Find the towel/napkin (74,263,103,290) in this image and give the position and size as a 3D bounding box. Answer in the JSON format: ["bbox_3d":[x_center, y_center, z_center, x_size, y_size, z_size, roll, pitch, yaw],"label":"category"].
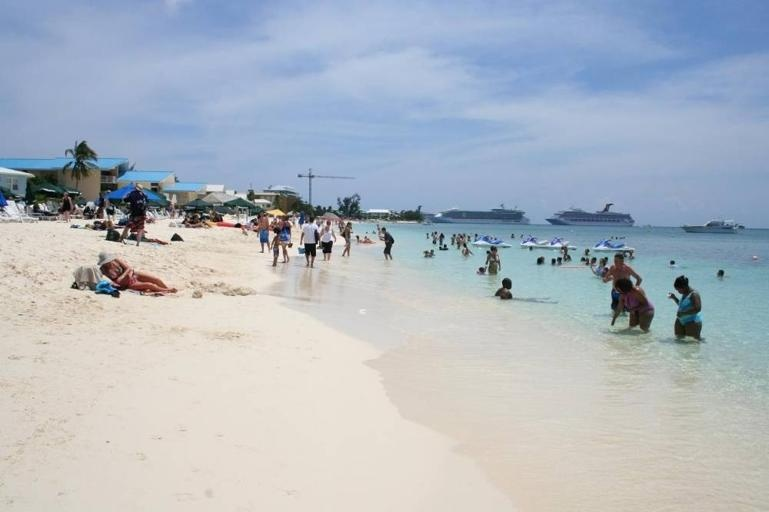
[{"bbox_3d":[-6.262,0.438,13.787,0.557,0.430,0.509,1,14,-20],"label":"towel/napkin"}]

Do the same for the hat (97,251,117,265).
[{"bbox_3d":[-6.084,0.047,14.355,0.319,0.226,0.404,1,13,-17],"label":"hat"}]

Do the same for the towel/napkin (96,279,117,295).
[{"bbox_3d":[-5.720,0.642,13.541,0.448,0.295,0.175,5,39,15],"label":"towel/napkin"}]

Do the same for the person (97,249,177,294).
[{"bbox_3d":[-5.397,0.383,14.323,1.881,0.735,0.633,12,46,18],"label":"person"}]
